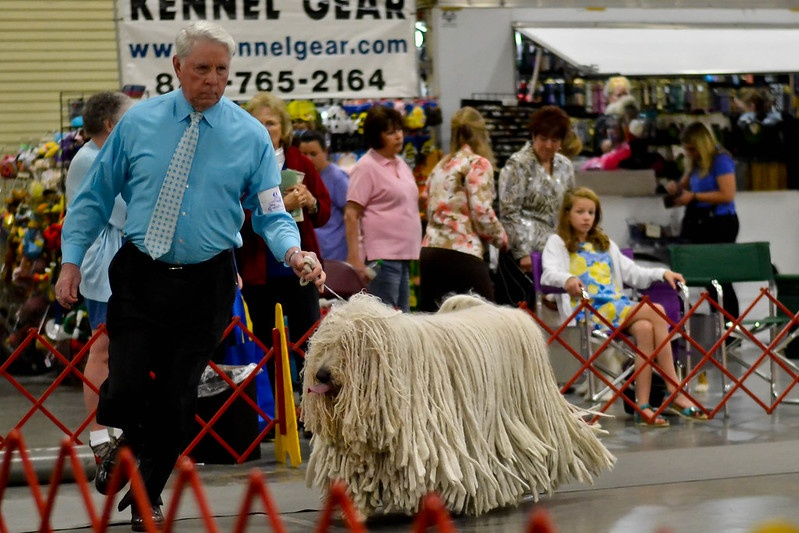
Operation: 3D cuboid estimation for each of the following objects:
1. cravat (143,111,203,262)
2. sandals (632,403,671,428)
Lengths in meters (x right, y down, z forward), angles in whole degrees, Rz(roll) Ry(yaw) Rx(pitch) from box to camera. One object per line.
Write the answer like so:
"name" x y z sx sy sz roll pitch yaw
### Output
"cravat" -1.243 -0.405 5.581 0.145 1.061 0.083 15 -10 -7
"sandals" 1.936 1.150 7.835 0.128 0.119 0.272 -1 0 -40
